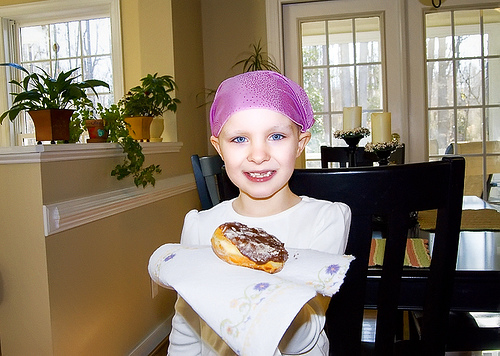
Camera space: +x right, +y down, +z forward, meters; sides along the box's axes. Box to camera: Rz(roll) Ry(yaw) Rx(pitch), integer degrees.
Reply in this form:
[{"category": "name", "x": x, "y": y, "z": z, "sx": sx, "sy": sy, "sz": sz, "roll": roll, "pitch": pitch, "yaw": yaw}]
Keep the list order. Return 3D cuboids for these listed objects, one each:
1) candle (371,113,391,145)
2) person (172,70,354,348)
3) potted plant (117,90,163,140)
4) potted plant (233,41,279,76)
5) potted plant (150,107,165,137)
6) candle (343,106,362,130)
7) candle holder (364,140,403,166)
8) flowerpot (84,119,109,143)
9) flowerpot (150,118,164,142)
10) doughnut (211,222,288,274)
[{"category": "candle", "x": 0.653, "y": -0.269, "z": 1.920, "sx": 0.085, "sy": 0.165, "sz": 0.095, "roll": -9, "pitch": 21, "yaw": 5}, {"category": "person", "x": 0.037, "y": 0.039, "z": 1.078, "sx": 0.432, "sy": 0.823, "sz": 0.603, "roll": -1, "pitch": 2, "yaw": 1}, {"category": "potted plant", "x": -0.679, "y": -0.376, "z": 2.438, "sx": 0.274, "sy": 0.369, "sz": 0.340, "roll": 1, "pitch": 3, "yaw": 14}, {"category": "potted plant", "x": 0.059, "y": -0.933, "z": 3.205, "sx": 0.229, "sy": 0.394, "sz": 0.259, "roll": -15, "pitch": 31, "yaw": -3}, {"category": "potted plant", "x": -0.641, "y": -0.365, "z": 2.586, "sx": 0.109, "sy": 0.206, "sz": 0.118, "roll": 1, "pitch": 6, "yaw": -16}, {"category": "candle", "x": 0.533, "y": -0.320, "z": 2.058, "sx": 0.100, "sy": 0.137, "sz": 0.110, "roll": 1, "pitch": 3, "yaw": 6}, {"category": "candle holder", "x": 0.628, "y": -0.121, "z": 1.851, "sx": 0.144, "sy": 0.110, "sz": 0.334, "roll": 3, "pitch": 11, "yaw": 27}, {"category": "flowerpot", "x": -0.819, "y": -0.262, "z": 2.051, "sx": 0.126, "sy": 0.131, "sz": 0.137, "roll": 6, "pitch": 11, "yaw": 10}, {"category": "flowerpot", "x": -0.626, "y": -0.324, "z": 2.549, "sx": 0.113, "sy": 0.149, "sz": 0.124, "roll": 2, "pitch": 3, "yaw": 17}, {"category": "doughnut", "x": -0.004, "y": 0.140, "z": 0.784, "sx": 0.161, "sy": 0.066, "sz": 0.135, "roll": 20, "pitch": 13, "yaw": 20}]
